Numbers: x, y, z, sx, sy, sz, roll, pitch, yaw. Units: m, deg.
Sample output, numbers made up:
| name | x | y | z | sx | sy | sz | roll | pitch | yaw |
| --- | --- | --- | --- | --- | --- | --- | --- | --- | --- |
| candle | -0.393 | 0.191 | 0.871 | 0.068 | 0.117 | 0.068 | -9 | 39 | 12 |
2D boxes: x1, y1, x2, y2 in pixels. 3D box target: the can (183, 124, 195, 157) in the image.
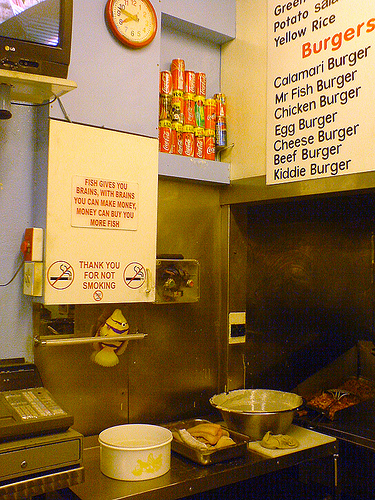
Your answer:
| name | x | y | z | sx | sy | sz | roll | pitch | yaw |
| --- | --- | --- | --- | --- | --- | --- | --- | --- | --- |
| can | 0.003 | -0.529 | 2.173 | 0.065 | 0.174 | 0.065 | 0 | -9 | 0 |

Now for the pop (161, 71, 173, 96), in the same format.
| name | x | y | z | sx | sy | sz | roll | pitch | yaw |
| --- | --- | --- | --- | --- | --- | --- | --- | --- | --- |
| pop | -0.101 | -0.812 | 2.104 | 0.033 | 0.123 | 0.088 | -1 | 0 | 33 |

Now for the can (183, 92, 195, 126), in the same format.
| name | x | y | z | sx | sy | sz | roll | pitch | yaw |
| --- | --- | --- | --- | --- | --- | --- | --- | --- | --- |
| can | 0.012 | -0.702 | 2.170 | 0.028 | 0.168 | 0.084 | -1 | 0 | 43 |

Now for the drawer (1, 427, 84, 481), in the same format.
| name | x | y | z | sx | sy | sz | roll | pitch | yaw |
| --- | --- | --- | --- | --- | --- | --- | --- | --- | --- |
| drawer | -0.393 | 0.554 | 1.167 | 0.221 | 0.135 | 0.028 | -1 | 0 | -40 |

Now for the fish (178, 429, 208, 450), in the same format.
| name | x | y | z | sx | sy | sz | roll | pitch | yaw |
| --- | --- | --- | --- | --- | --- | --- | --- | --- | --- |
| fish | 0.021 | 0.752 | 1.710 | 0.091 | 0.031 | 0.219 | -1 | -1 | -14 |

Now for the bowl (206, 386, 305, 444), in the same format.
| name | x | y | z | sx | sy | sz | roll | pitch | yaw |
| --- | --- | --- | --- | --- | --- | --- | --- | --- | --- |
| bowl | 0.370 | 0.753 | 2.017 | 0.370 | 0.151 | 0.384 | 1 | -10 | 0 |

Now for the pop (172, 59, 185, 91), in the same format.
| name | x | y | z | sx | sy | sz | roll | pitch | yaw |
| --- | --- | --- | --- | --- | --- | --- | --- | --- | --- |
| pop | -0.044 | -0.861 | 2.132 | 0.064 | 0.156 | 0.039 | -1 | 0 | -11 |

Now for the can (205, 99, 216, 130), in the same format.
| name | x | y | z | sx | sy | sz | roll | pitch | yaw |
| --- | --- | --- | --- | --- | --- | --- | --- | --- | --- |
| can | 0.123 | -0.704 | 2.237 | 0.064 | 0.159 | 0.030 | -1 | 0 | -17 |

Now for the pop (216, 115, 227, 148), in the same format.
| name | x | y | z | sx | sy | sz | roll | pitch | yaw |
| --- | --- | --- | --- | --- | --- | --- | --- | --- | --- |
| pop | 0.179 | -0.620 | 2.264 | 0.059 | 0.168 | 0.041 | -1 | 0 | -3 |

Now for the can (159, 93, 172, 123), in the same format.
| name | x | y | z | sx | sy | sz | roll | pitch | yaw |
| --- | --- | --- | --- | --- | --- | --- | --- | --- | --- |
| can | -0.107 | -0.687 | 2.077 | 0.033 | 0.138 | 0.100 | -1 | 0 | 43 |

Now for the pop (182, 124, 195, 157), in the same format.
| name | x | y | z | sx | sy | sz | roll | pitch | yaw |
| --- | --- | --- | --- | --- | --- | --- | --- | --- | --- |
| pop | 0.009 | -0.550 | 2.164 | 0.027 | 0.164 | 0.090 | -1 | 0 | 39 |
